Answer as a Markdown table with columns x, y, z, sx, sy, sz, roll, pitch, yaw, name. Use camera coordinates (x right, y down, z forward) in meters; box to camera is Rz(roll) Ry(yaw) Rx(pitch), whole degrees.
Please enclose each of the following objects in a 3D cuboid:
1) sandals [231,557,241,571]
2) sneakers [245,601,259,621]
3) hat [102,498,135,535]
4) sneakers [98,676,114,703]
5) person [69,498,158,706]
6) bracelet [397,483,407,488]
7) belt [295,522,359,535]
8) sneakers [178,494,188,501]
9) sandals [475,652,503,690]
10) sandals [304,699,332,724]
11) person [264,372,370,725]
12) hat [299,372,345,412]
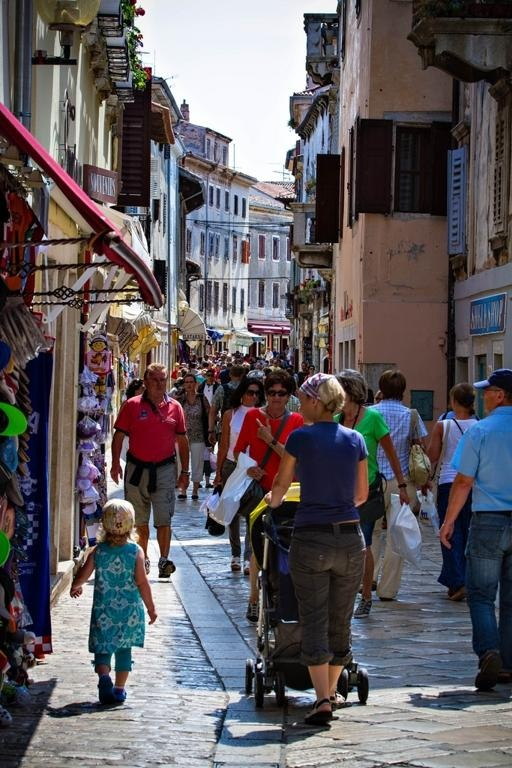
| x | y | z | sx | sy | sz | roll | pitch | yaw | name |
| --- | --- | --- | --- | --- | --- | --- | --- | --- | --- |
| -0.182 | 1.635 | 10.030 | 0.065 | 0.106 | 0.222 | 0 | -4 | -2 | sandals |
| -0.024 | 1.538 | 7.506 | 0.057 | 0.085 | 0.191 | 1 | 7 | 0 | sneakers |
| -0.644 | 0.635 | 5.291 | 0.116 | 0.186 | 0.167 | 0 | -15 | 4 | hat |
| -0.690 | 1.392 | 5.036 | 0.045 | 0.158 | 0.060 | 0 | 0 | -5 | sneakers |
| -0.667 | 1.023 | 5.272 | 0.369 | 0.920 | 0.438 | -1 | -1 | -26 | person |
| 1.082 | 0.761 | 8.265 | 0.046 | 0.040 | 0.054 | -17 | -21 | 12 | bracelet |
| 0.306 | 0.629 | 4.787 | 0.280 | 0.051 | 0.130 | -1 | -1 | 0 | belt |
| -1.055 | 1.625 | 15.846 | 0.089 | 0.109 | 0.227 | 0 | 3 | -15 | sneakers |
| 1.133 | 1.422 | 5.457 | 0.126 | 0.191 | 0.145 | -1 | -1 | -1 | sandals |
| 0.264 | 1.404 | 4.731 | 0.120 | 0.125 | 0.106 | -1 | -1 | 4 | sandals |
| 0.301 | 0.717 | 4.891 | 0.325 | 1.520 | 0.444 | -2 | -1 | 41 | person |
| 0.300 | 0.035 | 4.909 | 0.133 | 0.205 | 0.178 | -5 | 4 | -36 | hat |
